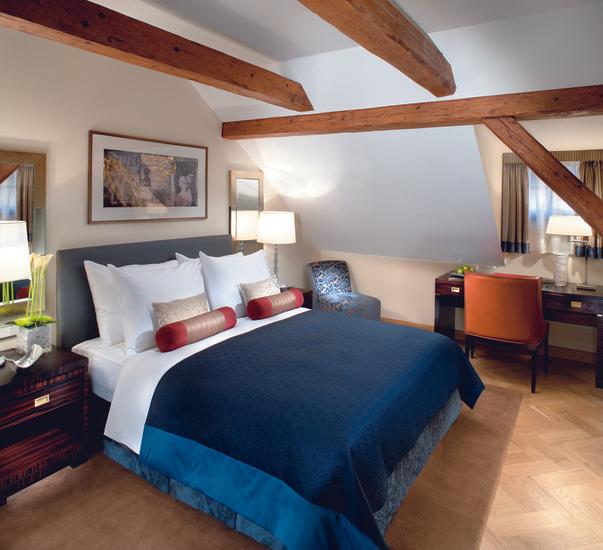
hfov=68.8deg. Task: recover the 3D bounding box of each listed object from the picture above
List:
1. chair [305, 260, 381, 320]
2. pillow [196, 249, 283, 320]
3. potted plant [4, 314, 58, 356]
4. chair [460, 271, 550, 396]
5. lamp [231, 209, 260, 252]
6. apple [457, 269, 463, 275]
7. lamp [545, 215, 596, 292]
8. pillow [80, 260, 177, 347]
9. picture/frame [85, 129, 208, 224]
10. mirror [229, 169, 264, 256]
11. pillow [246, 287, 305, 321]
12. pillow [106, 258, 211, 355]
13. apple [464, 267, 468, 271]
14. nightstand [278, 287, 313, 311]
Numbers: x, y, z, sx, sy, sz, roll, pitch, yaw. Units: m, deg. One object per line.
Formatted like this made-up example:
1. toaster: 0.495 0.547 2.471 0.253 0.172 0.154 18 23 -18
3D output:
1. chair: 0.577 0.273 5.575 0.710 0.906 0.647 0 3 41
2. pillow: -0.624 0.039 3.833 0.602 0.575 0.176 -3 -11 -44
3. potted plant: -1.718 0.351 2.813 0.252 0.263 0.256 1 4 -18
4. chair: 2.016 0.479 4.288 0.721 1.065 0.833 4 13 29
5. lamp: -0.568 -0.477 5.066 0.279 0.463 0.264 6 40 5
6. apple: 1.764 -0.034 4.901 0.043 0.045 0.044 -2 4 -5
7. lamp: 2.764 -0.214 4.434 0.439 0.753 0.515 -12 9 -41
8. pillow: -1.407 0.213 3.206 0.157 0.534 0.567 -10 -9 39
9. picture/frame: -1.368 -0.850 3.785 0.034 0.581 0.947 7 8 30
10. mirror: -0.606 -0.710 4.922 0.372 0.787 0.055 2 5 7
11. pillow: -0.217 0.222 3.922 0.205 0.202 0.610 23 15 29
12. pillow: -1.050 0.245 3.165 0.206 0.517 0.614 0 6 29
13. apple: 1.790 -0.069 4.799 0.057 0.033 0.060 -6 4 1
14. nightstand: -0.025 0.260 4.849 0.317 0.257 0.324 7 -8 -18
